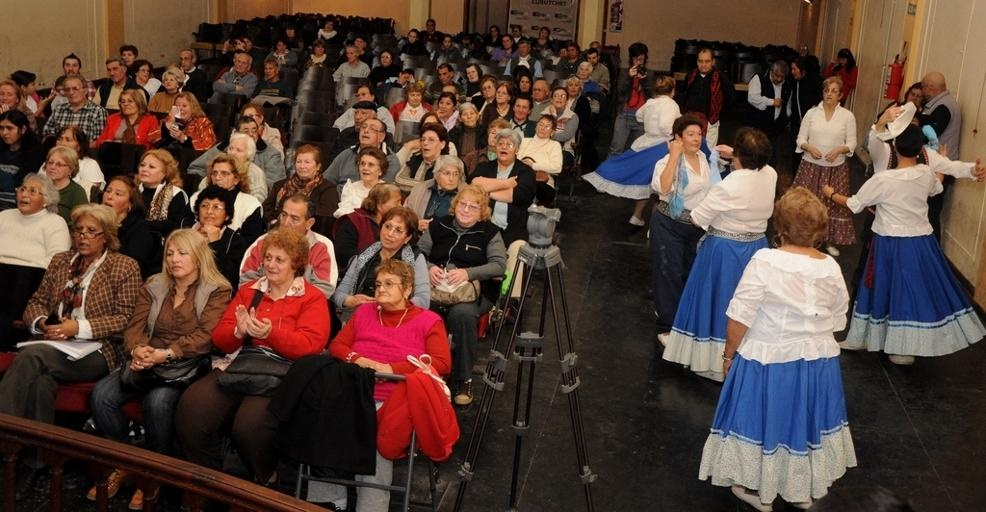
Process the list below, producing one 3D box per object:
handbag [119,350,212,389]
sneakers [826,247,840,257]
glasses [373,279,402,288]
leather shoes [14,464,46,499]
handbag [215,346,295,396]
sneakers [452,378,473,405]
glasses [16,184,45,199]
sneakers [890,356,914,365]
[{"bbox_3d":[-2.632,0.880,5.310,0.430,0.163,0.335,-5,5,-18],"label":"handbag"},{"bbox_3d":[4.296,-0.058,8.393,0.079,0.049,0.141,-26,33,-25],"label":"sneakers"},{"bbox_3d":[-0.819,0.208,5.222,0.197,0.075,0.052,-2,16,-6],"label":"glasses"},{"bbox_3d":[-3.719,1.794,5.331,0.112,0.128,0.333,21,22,-15],"label":"leather shoes"},{"bbox_3d":[-1.961,0.993,5.252,0.590,0.175,0.623,5,-13,8],"label":"handbag"},{"bbox_3d":[-0.270,1.270,6.134,0.129,0.183,0.301,0,-2,4],"label":"sneakers"},{"bbox_3d":[-4.282,-0.574,6.131,0.144,0.183,0.083,7,1,-11],"label":"glasses"},{"bbox_3d":[4.103,1.055,6.647,0.101,0.079,0.200,0,-3,-11],"label":"sneakers"}]
